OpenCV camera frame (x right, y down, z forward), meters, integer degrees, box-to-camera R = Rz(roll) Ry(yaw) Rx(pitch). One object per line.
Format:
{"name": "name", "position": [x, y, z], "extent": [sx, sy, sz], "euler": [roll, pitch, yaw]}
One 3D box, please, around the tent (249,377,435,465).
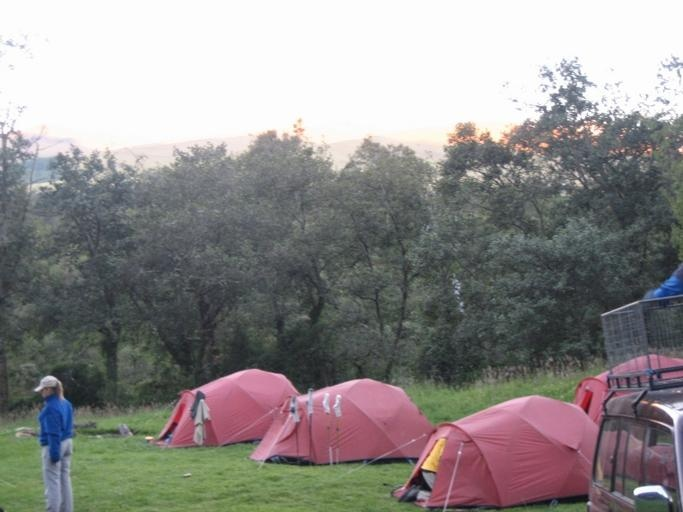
{"name": "tent", "position": [-0.852, 8.771, 62.031], "extent": [8.788, 4.104, 6.323], "euler": [-2, 1, -27]}
